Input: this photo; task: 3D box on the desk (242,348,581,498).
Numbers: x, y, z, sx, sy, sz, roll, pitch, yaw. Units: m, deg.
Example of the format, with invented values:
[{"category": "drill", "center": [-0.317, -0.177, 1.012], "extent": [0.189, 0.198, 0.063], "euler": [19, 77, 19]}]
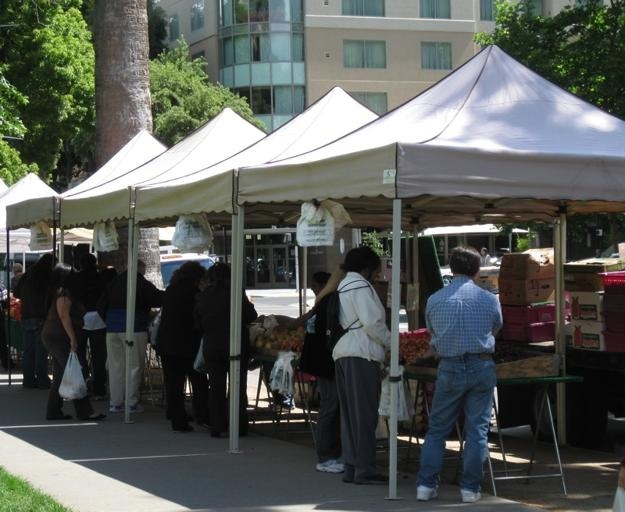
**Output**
[{"category": "desk", "center": [1.841, 1.778, 11.719], "extent": [1.038, 1.478, 3.671], "euler": [1, -3, -12]}]

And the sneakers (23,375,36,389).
[{"category": "sneakers", "center": [-4.596, 2.028, 15.936], "extent": [0.166, 0.205, 0.180], "euler": [-1, -4, 14]}]

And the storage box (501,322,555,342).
[{"category": "storage box", "center": [2.744, 0.941, 12.283], "extent": [0.421, 0.174, 0.310], "euler": [1, -1, -26]}]

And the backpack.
[{"category": "backpack", "center": [0.372, 0.644, 10.431], "extent": [0.596, 0.659, 0.427], "euler": [-4, -6, 19]}]

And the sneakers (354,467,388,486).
[{"category": "sneakers", "center": [0.605, 2.292, 10.233], "extent": [0.354, 0.178, 0.151], "euler": [-1, 0, -10]}]

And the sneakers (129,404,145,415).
[{"category": "sneakers", "center": [-2.470, 2.148, 13.837], "extent": [0.202, 0.168, 0.079], "euler": [0, 2, -15]}]

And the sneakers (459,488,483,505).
[{"category": "sneakers", "center": [1.572, 2.336, 9.678], "extent": [0.214, 0.126, 0.210], "euler": [0, -1, -1]}]

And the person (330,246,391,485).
[{"category": "person", "center": [0.511, 1.120, 10.203], "extent": [0.613, 2.470, 0.419], "euler": [0, -1, 7]}]

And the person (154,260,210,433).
[{"category": "person", "center": [-1.599, 1.092, 12.763], "extent": [0.689, 2.435, 0.787], "euler": [13, 23, 23]}]

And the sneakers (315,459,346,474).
[{"category": "sneakers", "center": [0.178, 2.272, 10.652], "extent": [0.269, 0.152, 0.123], "euler": [-2, -5, 16]}]

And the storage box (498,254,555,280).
[{"category": "storage box", "center": [2.693, 0.125, 12.370], "extent": [0.400, 0.276, 0.427], "euler": [-5, 5, -24]}]

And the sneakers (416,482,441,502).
[{"category": "sneakers", "center": [1.135, 2.322, 9.721], "extent": [0.096, 0.130, 0.274], "euler": [3, 5, 33]}]

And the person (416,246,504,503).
[{"category": "person", "center": [1.452, 1.154, 9.729], "extent": [0.824, 2.489, 0.344], "euler": [0, -1, 12]}]
